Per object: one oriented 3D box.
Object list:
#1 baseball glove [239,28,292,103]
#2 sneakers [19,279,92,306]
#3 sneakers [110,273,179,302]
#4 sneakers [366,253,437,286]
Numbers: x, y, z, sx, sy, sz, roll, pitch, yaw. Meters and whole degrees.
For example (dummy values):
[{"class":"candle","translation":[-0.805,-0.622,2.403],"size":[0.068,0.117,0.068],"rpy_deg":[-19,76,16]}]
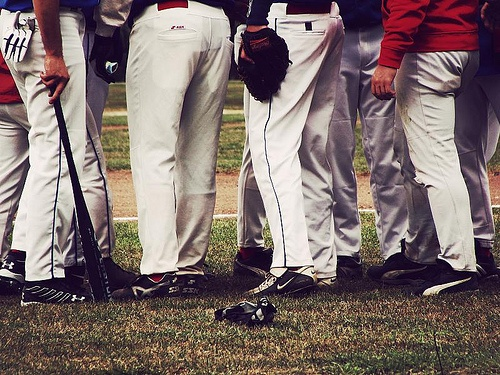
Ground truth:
[{"class":"baseball glove","translation":[0.036,-0.761,5.046],"size":[0.179,0.310,0.419],"rpy_deg":[30,58,22]},{"class":"sneakers","translation":[-1.207,0.647,5.001],"size":[0.490,0.199,0.160],"rpy_deg":[0,-2,-15]},{"class":"sneakers","translation":[-0.656,0.637,5.078],"size":[0.433,0.164,0.153],"rpy_deg":[-2,-6,-2]},{"class":"sneakers","translation":[1.023,0.561,5.446],"size":[0.474,0.225,0.171],"rpy_deg":[1,1,11]}]
